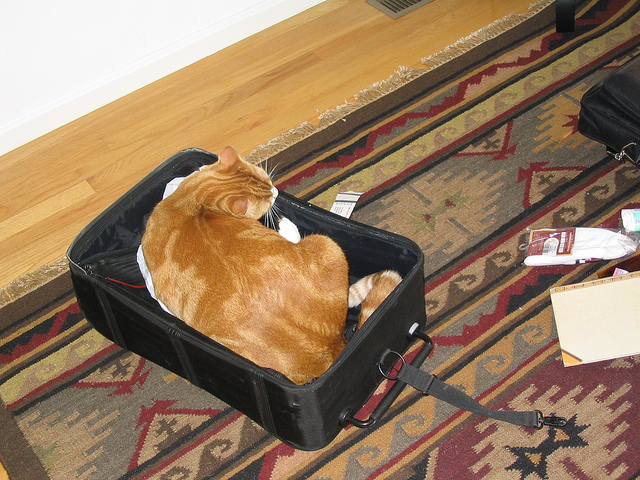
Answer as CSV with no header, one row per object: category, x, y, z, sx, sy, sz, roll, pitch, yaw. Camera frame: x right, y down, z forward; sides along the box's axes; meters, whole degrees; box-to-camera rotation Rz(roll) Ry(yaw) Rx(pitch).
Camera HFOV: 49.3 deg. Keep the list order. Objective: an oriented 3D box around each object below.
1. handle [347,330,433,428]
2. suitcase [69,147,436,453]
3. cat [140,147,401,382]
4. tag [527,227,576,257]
handle,0.253,0.464,2.206,0.358,0.034,0.216,-43,29,-14
suitcase,-0.191,0.202,2.176,0.560,1.041,0.324,-55,-20,-33
cat,-0.193,0.082,2.247,0.548,0.831,0.323,-47,-12,-25
tag,0.833,0.009,2.518,0.166,0.040,0.099,3,63,21
